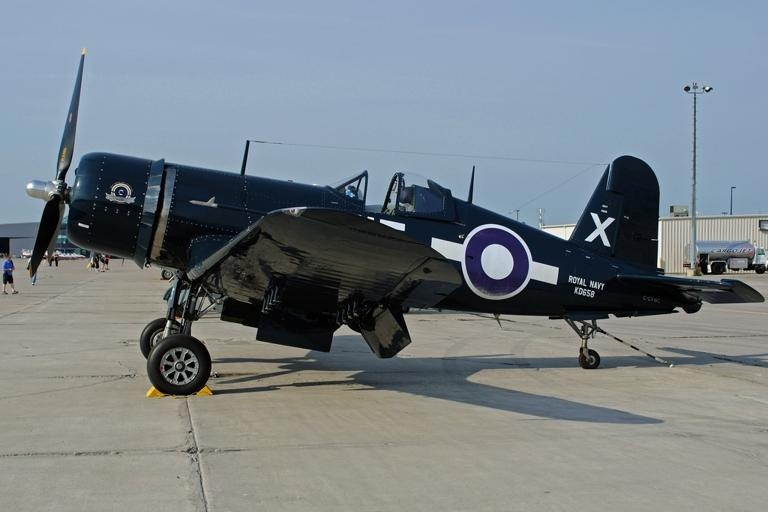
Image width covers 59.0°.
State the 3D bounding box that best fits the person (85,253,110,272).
[{"bbox_3d":[-19.688,0.508,46.481,1.432,0.732,1.634,4,5,-44],"label":"person"}]
